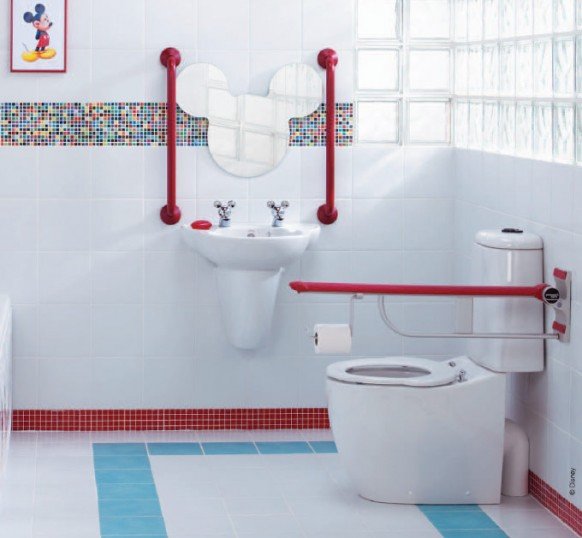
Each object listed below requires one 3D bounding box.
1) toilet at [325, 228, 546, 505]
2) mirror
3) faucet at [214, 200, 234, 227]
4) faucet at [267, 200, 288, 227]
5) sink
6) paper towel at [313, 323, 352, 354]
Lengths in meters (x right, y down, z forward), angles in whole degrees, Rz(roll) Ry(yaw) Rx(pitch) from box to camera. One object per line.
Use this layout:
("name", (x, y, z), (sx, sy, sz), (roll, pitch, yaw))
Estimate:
("toilet", (0.536, 0.333, 2.752), (0.771, 1.035, 0.603), (3, -3, -4))
("mirror", (-0.220, -0.706, 3.318), (0.480, 0.422, 0.008), (-1, 9, 0))
("faucet", (-0.311, -0.254, 3.287), (0.111, 0.151, 0.073), (0, 1, -6))
("faucet", (-0.063, -0.256, 3.289), (0.121, 0.155, 0.103), (0, 0, -4))
("sink", (-0.180, 0.102, 3.206), (0.623, 0.592, 0.378), (0, 16, -9))
("paper towel", (0.150, 0.241, 2.558), (0.117, 0.099, 0.097), (-1, 3, -7))
